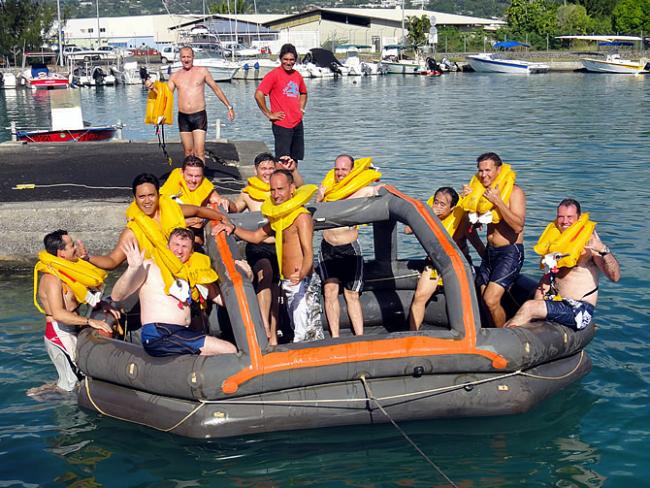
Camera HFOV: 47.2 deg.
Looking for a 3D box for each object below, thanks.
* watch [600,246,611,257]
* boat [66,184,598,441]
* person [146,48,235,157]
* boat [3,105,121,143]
[{"bbox_3d":[3.063,0.084,8.131,0.100,0.034,0.097,-35,15,-32],"label":"watch"},{"bbox_3d":[-0.079,1.273,9.321,4.294,1.363,3.420,-4,12,-11],"label":"boat"},{"bbox_3d":[-2.508,-2.485,13.184,1.356,1.963,0.604,0,11,21],"label":"person"},{"bbox_3d":[-7.020,-3.290,20.187,2.468,1.059,3.030,-9,10,-29],"label":"boat"}]
